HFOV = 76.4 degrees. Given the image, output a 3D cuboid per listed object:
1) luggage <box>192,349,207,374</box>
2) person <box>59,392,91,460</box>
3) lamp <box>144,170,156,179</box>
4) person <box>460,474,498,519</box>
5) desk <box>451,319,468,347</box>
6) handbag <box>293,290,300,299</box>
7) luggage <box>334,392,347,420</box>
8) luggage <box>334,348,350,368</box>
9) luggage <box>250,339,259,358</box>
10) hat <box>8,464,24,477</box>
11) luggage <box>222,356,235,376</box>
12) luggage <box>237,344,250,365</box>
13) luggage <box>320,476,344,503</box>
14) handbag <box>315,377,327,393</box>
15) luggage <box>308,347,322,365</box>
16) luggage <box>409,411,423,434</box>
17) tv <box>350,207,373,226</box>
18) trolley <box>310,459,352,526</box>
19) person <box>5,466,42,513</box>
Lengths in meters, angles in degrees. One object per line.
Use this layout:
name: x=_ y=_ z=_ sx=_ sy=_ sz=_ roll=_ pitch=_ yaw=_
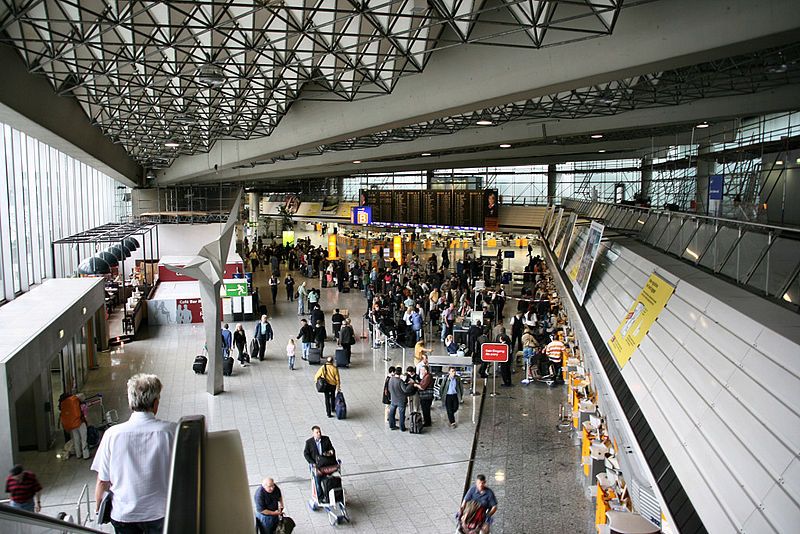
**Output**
luggage: x=-7.406 y=3.532 z=18.573 sx=0.475 sy=0.850 sz=0.803 roll=1 pitch=0 yaw=-1
person: x=-7.899 y=3.876 z=12.364 sx=0.501 sy=1.662 sz=0.391 roll=-7 pitch=10 yaw=-35
lamp: x=-21.694 y=-8.089 z=44.343 sx=0.603 sy=0.727 sz=0.644 roll=-1 pitch=-2 yaw=16
person: x=1.362 y=4.119 z=8.849 sx=0.611 sy=0.960 sz=0.549 roll=-2 pitch=18 yaw=4
desk: x=2.383 y=2.542 z=19.941 sx=0.650 sy=1.207 sz=1.216 roll=0 pitch=7 yaw=2
handbag: x=-6.153 y=1.654 z=30.238 sx=0.407 sy=0.265 sz=0.705 roll=1 pitch=26 yaw=3
luggage: x=-1.719 y=4.000 z=14.587 sx=0.297 sy=0.705 sz=0.679 roll=-2 pitch=4 yaw=-9
luggage: x=-2.180 y=3.363 z=19.231 sx=0.543 sy=1.129 sz=0.611 roll=-2 pitch=4 yaw=-8
luggage: x=-5.675 y=3.187 z=19.897 sx=0.248 sy=0.744 sz=0.727 roll=-1 pitch=3 yaw=-15
hat: x=-6.168 y=3.269 z=8.209 sx=0.175 sy=0.174 sz=0.174 roll=5 pitch=11 yaw=34
luggage: x=-6.164 y=3.545 z=18.237 sx=0.323 sy=0.640 sz=0.317 roll=-3 pitch=9 yaw=-10
luggage: x=-5.931 y=3.300 z=19.346 sx=0.374 sy=0.807 sz=0.532 roll=-4 pitch=9 yaw=-18
luggage: x=-1.366 y=4.493 z=10.458 sx=0.402 sy=0.625 sz=0.480 roll=0 pitch=-5 yaw=-18
handbag: x=-2.262 y=3.334 z=14.660 sx=0.292 sy=0.571 sz=0.549 roll=2 pitch=0 yaw=-19
luggage: x=-3.225 y=3.357 z=19.299 sx=0.483 sy=0.749 sz=0.396 roll=2 pitch=16 yaw=2
luggage: x=0.454 y=4.187 z=13.863 sx=0.412 sy=0.566 sz=0.375 roll=-2 pitch=9 yaw=-6
tv: x=-3.303 y=-4.622 z=45.319 sx=0.842 sy=1.746 sz=3.968 roll=-4 pitch=9 yaw=-19
trolley: x=-1.410 y=4.621 z=10.319 sx=0.499 sy=0.856 sz=1.425 roll=0 pitch=-6 yaw=-17
person: x=-6.107 y=3.585 z=8.236 sx=0.437 sy=0.808 sz=0.310 roll=-7 pitch=10 yaw=-34
